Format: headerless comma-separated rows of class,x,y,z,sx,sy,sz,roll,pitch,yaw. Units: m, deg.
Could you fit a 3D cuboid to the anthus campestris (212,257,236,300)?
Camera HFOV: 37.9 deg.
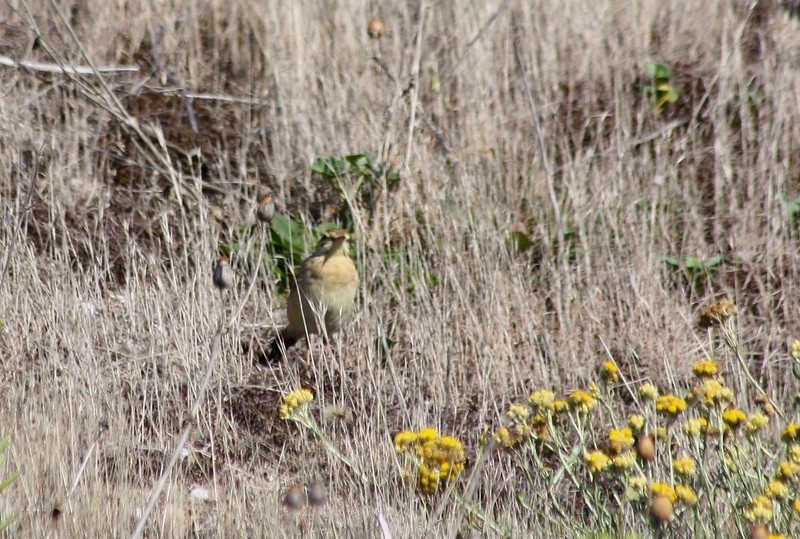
anthus campestris,-0.990,0.027,6.795,0.103,0.185,0.256,4,101,24

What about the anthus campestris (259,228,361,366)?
anthus campestris,-0.642,0.242,8.889,0.463,1.075,1.008,8,77,-25
